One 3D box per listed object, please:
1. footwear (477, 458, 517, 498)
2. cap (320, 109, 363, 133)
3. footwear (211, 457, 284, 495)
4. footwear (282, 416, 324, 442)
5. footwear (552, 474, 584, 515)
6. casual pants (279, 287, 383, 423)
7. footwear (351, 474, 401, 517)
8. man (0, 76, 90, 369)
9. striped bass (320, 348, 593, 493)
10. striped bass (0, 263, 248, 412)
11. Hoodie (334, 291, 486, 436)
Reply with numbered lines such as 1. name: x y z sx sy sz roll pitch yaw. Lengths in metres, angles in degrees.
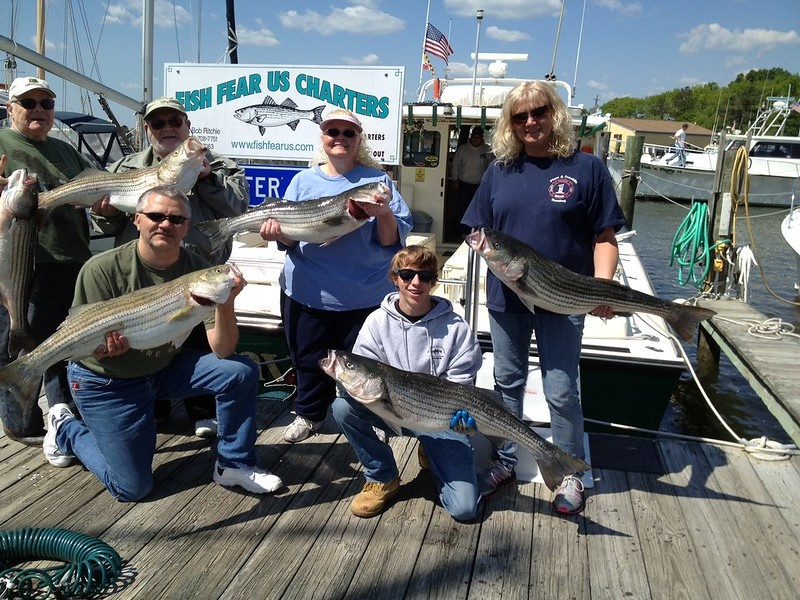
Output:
1. footwear: 0.618 1.151 3.876 0.329 0.163 0.110 -8 5 -42
2. cap: -0.395 -1.226 4.133 0.294 0.156 0.256 -1 18 -9
3. footwear: -0.975 1.139 3.918 0.427 0.202 0.175 5 4 7
4. footwear: -0.720 0.964 4.479 0.127 0.110 0.243 5 10 26
5. footwear: 1.067 1.237 3.832 0.142 0.163 0.376 0 -3 15
6. casual pants: -0.573 0.388 4.599 0.566 1.031 0.440 3 2 1
7. footwear: -0.143 1.207 3.765 0.148 0.159 0.320 6 12 33
8. man: -2.355 -0.411 3.973 0.472 2.071 0.504 3 4 -38
9. striped bass: 0.326 0.770 3.715 1.370 0.439 0.293 24 -21 -4
10. striped bass: -1.719 0.232 3.727 1.267 0.414 0.433 -22 52 -13
11. Hoodie: 0.141 0.347 3.748 0.691 0.922 0.378 1 -6 6
